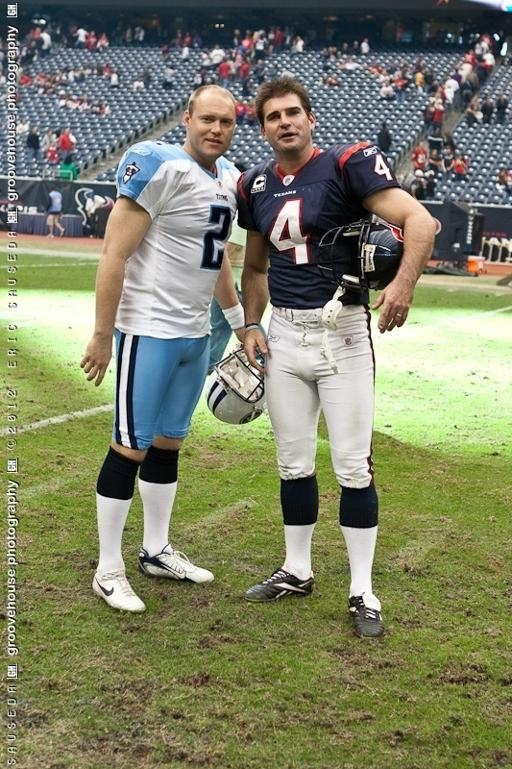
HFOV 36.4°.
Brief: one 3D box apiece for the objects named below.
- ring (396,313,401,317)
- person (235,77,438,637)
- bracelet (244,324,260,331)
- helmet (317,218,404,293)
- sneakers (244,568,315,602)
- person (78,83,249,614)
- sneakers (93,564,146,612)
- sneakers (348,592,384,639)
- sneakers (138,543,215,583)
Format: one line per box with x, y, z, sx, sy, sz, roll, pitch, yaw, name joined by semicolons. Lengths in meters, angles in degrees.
0.455;-0.219;2.469;0.017;0.013;0.015;4;17;21;ring
0.210;-0.028;2.795;0.435;1.688;0.968;-9;19;-38;person
-0.005;-0.222;3.032;0.035;0.018;0.037;-2;-7;-7;bracelet
0.377;-0.448;2.660;0.348;0.237;0.273;-4;18;-14;helmet
0.086;0.764;2.967;0.294;0.099;0.092;0;-9;-13;sneakers
-0.308;-0.150;2.859;0.437;1.858;0.814;11;17;25;person
-0.496;0.737;2.808;0.252;0.090;0.092;19;18;31;sneakers
0.386;0.805;2.699;0.103;0.080;0.203;3;13;-1;sneakers
-0.329;0.715;3.101;0.357;0.124;0.113;8;-3;5;sneakers
